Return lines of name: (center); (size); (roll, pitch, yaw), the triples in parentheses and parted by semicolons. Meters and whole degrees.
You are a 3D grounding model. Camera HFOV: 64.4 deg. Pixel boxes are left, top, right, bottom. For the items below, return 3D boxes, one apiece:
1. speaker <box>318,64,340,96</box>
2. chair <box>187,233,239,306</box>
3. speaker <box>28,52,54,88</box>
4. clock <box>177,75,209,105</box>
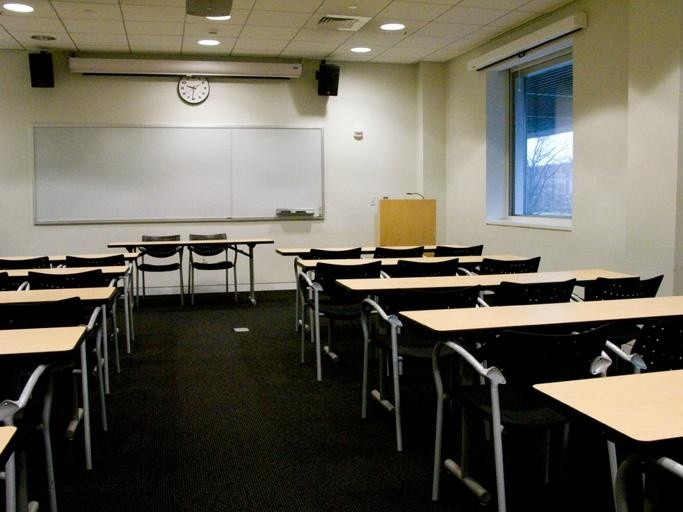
speaker: (-0.197, -2.722, 8.504); (0.403, 0.563, 0.389); (3, 5, 1)
chair: (-1.891, 0.157, 7.854); (0.854, 1.465, 0.964); (-1, -1, -17)
speaker: (-4.195, -2.615, 7.554); (0.316, 0.507, 0.258); (-3, 7, -26)
clock: (-2.238, -2.482, 8.053); (0.401, 0.435, 0.044); (0, 6, -11)
